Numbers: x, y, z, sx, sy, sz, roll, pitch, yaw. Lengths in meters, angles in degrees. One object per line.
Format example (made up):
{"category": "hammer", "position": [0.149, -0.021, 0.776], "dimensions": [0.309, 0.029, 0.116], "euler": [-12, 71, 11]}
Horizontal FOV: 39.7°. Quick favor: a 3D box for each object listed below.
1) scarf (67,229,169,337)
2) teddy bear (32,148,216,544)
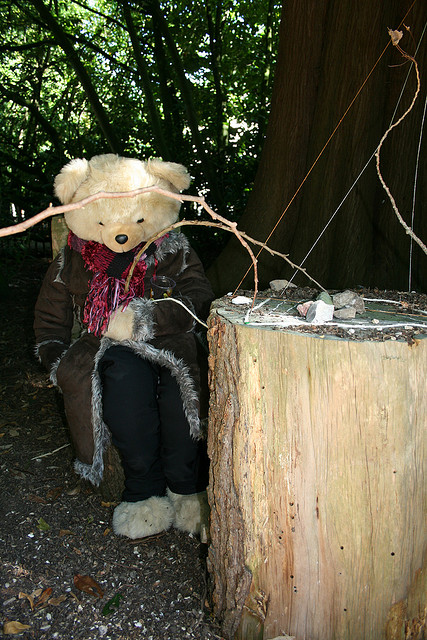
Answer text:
{"category": "scarf", "position": [-0.397, -0.157, 2.453], "dimensions": [0.413, 0.409, 0.087], "euler": [14, -5, 19]}
{"category": "teddy bear", "position": [-0.402, 0.061, 2.466], "dimensions": [0.799, 1.453, 1.196], "euler": [-3, 15, 0]}
